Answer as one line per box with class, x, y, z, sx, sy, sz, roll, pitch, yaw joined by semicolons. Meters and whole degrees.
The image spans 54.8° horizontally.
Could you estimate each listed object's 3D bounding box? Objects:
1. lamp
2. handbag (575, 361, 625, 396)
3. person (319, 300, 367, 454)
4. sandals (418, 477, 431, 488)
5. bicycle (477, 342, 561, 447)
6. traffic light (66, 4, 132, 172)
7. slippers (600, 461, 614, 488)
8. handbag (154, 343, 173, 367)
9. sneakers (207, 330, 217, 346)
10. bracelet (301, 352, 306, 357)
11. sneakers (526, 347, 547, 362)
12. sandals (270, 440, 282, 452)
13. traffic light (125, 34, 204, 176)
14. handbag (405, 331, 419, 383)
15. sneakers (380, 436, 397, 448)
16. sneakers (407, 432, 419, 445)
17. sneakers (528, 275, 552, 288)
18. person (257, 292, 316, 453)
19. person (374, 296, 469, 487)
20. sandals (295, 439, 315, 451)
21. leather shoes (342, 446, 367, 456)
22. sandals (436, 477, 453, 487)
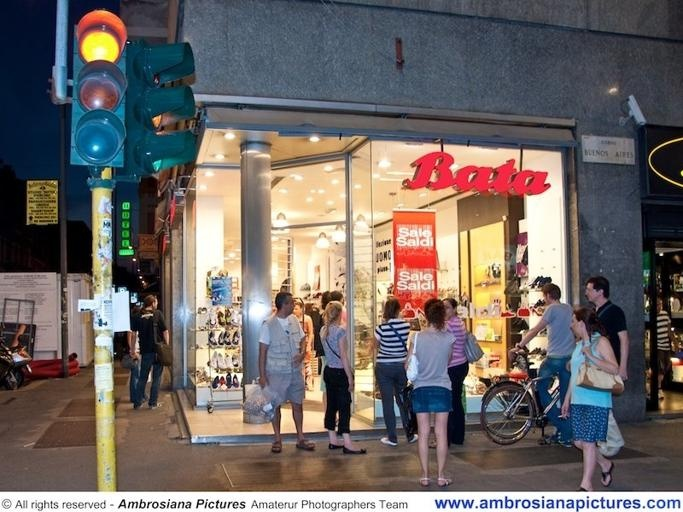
lamp;-0.473;-0.547;12.495;0.817;0.784;3.165;0;-2;-24
handbag;2.840;1.354;7.315;0.551;0.550;0.207;4;-4;1
person;-0.023;1.672;9.223;0.505;2.077;0.689;0;-3;-6
sandals;0.982;2.612;7.703;0.123;0.114;0.183;-1;-2;9
bicycle;2.372;2.187;9.935;1.759;1.165;0.821;0;-3;-19
traffic light;-2.071;-1.433;5.647;0.444;1.367;0.253;0;-3;-23
slippers;3.116;2.556;7.705;0.101;0.399;0.129;-3;7;-9
handbag;-3.552;1.963;13.235;0.271;0.470;0.451;0;-3;-15
sneakers;-2.448;1.554;12.541;0.150;0.285;0.139;0;-3;-26
bracelet;-0.534;1.377;9.271;0.051;0.032;0.051;-2;0;10
sneakers;3.312;1.658;11.133;0.277;0.113;0.205;-5;1;-24
sandals;-0.917;2.665;9.249;0.131;0.107;0.380;0;-6;-2
traffic light;-1.588;-1.293;5.859;0.599;1.229;0.491;-1;-3;-2
handbag;0.847;1.191;7.756;0.140;0.588;0.205;-1;-3;6
sneakers;0.681;2.665;9.507;0.095;0.100;0.237;-2;6;-40
sneakers;1.034;2.620;9.505;0.099;0.143;0.327;1;4;19
sneakers;3.443;0.442;11.408;0.282;0.105;0.210;-30;17;23
person;-0.786;1.613;9.291;0.772;2.206;0.443;0;-3;-15
person;1.057;1.590;7.774;0.573;2.157;0.311;-1;-3;-2
sandals;-0.509;2.664;9.332;0.226;0.103;0.129;3;0;16
leather shoes;0.178;2.677;9.110;0.328;0.138;0.115;-2;-6;4
sandals;1.212;2.617;7.703;0.198;0.114;0.156;0;-2;-10
